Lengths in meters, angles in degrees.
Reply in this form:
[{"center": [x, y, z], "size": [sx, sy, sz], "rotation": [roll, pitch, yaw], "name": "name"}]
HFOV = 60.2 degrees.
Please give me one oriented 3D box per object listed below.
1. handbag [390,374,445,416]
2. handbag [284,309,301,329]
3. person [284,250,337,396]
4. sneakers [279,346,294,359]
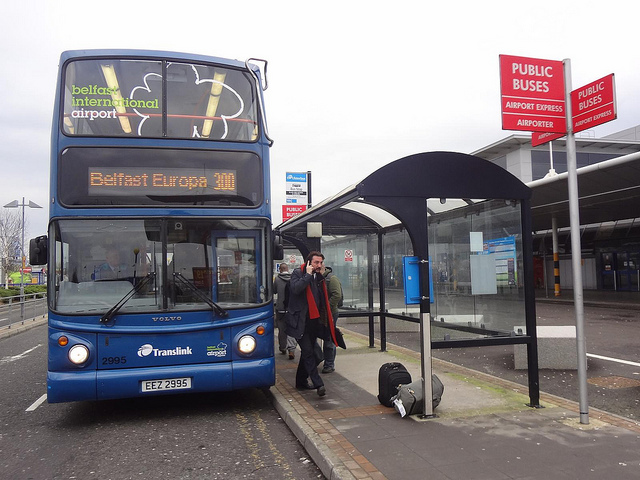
[{"center": [1.336, 2.166, 7.629], "size": [0.642, 0.461, 0.277], "rotation": [-11, -3, -19], "name": "handbag"}, {"center": [-0.428, 1.283, 8.737], "size": [0.350, 0.370, 0.232], "rotation": [1, -12, -7], "name": "handbag"}, {"center": [-0.163, 1.297, 8.744], "size": [0.668, 1.877, 0.775], "rotation": [-2, 1, 12], "name": "person"}, {"center": [-0.687, 2.498, 12.185], "size": [0.186, 0.265, 0.600], "rotation": [3, -3, -19], "name": "sneakers"}]
